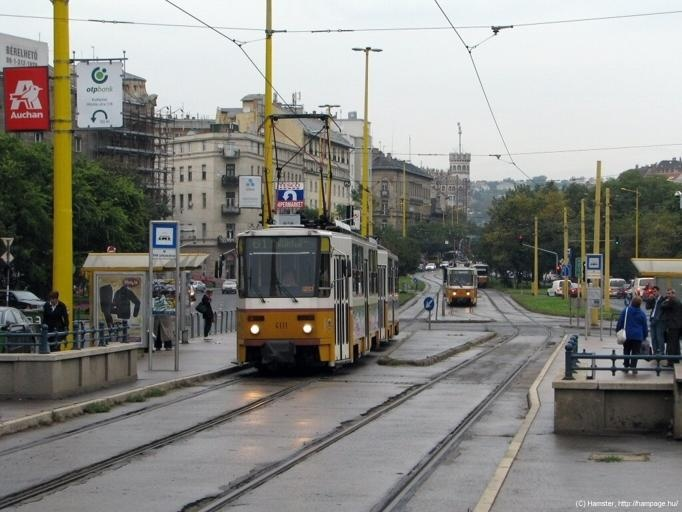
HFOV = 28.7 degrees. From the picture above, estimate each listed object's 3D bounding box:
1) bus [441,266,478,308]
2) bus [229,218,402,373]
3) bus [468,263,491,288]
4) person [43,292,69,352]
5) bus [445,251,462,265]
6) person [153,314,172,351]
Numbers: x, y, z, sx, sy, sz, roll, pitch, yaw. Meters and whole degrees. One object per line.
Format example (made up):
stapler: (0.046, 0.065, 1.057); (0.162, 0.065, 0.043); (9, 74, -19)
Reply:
bus: (7.349, 1.912, 83.995); (1.939, 2.472, 2.715); (0, -1, 0)
bus: (-0.426, 1.182, 40.402); (3.118, 3.803, 16.138); (0, -1, 7)
bus: (12.639, 1.737, 121.223); (1.658, 2.395, 4.885); (0, -4, 3)
person: (-6.352, 1.447, 29.770); (0.547, 1.321, 3.311); (0, -1, -11)
bus: (13.750, 0.149, 165.871); (2.003, 2.441, 7.030); (-1, -5, 9)
person: (-5.318, 2.268, 39.816); (0.563, 1.094, 1.630); (0, -1, -7)
